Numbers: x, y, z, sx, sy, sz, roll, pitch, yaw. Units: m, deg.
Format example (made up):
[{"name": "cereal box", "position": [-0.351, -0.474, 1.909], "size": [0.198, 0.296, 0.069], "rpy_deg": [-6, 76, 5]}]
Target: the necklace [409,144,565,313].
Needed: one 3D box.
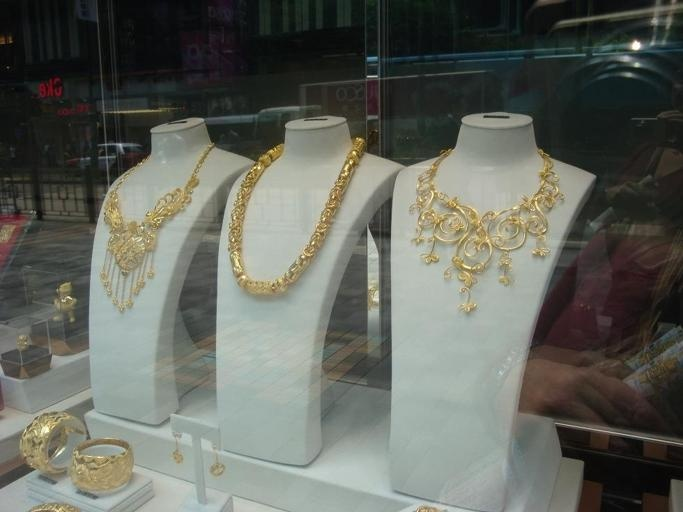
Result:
[{"name": "necklace", "position": [0.352, -0.058, 1.298], "size": [0.371, 0.472, 0.125], "rpy_deg": [1, -9, 26]}]

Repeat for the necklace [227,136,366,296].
[{"name": "necklace", "position": [-0.128, -0.111, 1.484], "size": [0.376, 0.382, 0.278], "rpy_deg": [0, 18, 2]}]

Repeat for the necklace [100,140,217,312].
[{"name": "necklace", "position": [-0.591, -0.094, 1.653], "size": [0.339, 0.468, 0.275], "rpy_deg": [8, 20, 25]}]

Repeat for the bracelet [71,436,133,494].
[{"name": "bracelet", "position": [-0.682, 0.591, 1.518], "size": [0.160, 0.117, 0.169], "rpy_deg": [5, -2, 32]}]

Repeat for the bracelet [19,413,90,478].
[{"name": "bracelet", "position": [-0.860, 0.549, 1.618], "size": [0.096, 0.186, 0.176], "rpy_deg": [5, 7, 19]}]
